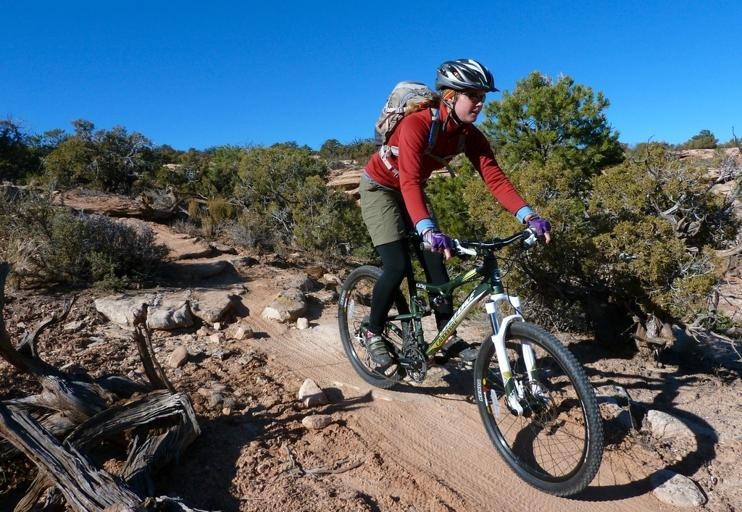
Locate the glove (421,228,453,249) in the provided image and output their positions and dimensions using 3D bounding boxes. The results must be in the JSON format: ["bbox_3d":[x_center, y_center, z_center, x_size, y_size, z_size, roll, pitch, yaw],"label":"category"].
[{"bbox_3d":[0.592,-0.151,4.376,0.162,0.189,0.279,-13,13,-40],"label":"glove"}]

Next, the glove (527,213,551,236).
[{"bbox_3d":[1.551,-0.283,4.525,0.162,0.218,0.108,-36,-25,-13],"label":"glove"}]

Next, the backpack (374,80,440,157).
[{"bbox_3d":[0.339,-1.440,4.875,0.276,0.618,0.742,-12,12,-38],"label":"backpack"}]

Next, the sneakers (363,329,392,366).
[{"bbox_3d":[0.077,1.052,5.438,0.211,0.444,0.173,-20,-28,-9],"label":"sneakers"}]

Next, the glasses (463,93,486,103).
[{"bbox_3d":[0.982,-1.491,4.519,0.219,0.107,0.146,-7,10,-12],"label":"glasses"}]
